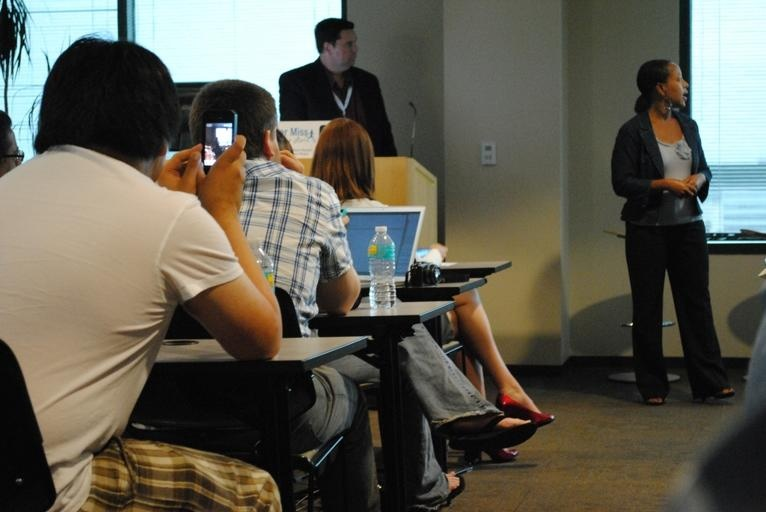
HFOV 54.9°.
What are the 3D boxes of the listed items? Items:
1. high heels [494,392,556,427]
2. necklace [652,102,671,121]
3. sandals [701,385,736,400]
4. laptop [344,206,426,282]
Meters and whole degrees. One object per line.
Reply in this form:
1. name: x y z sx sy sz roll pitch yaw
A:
1. high heels: 0.596 0.659 3.242 0.324 0.147 0.112 7 1 11
2. necklace: 1.696 -0.892 4.480 0.106 0.083 0.091 2 4 0
3. sandals: 1.955 0.795 4.289 0.057 0.066 0.161 -14 -7 -38
4. laptop: 0.006 -0.117 3.148 0.338 0.300 0.242 0 47 0
